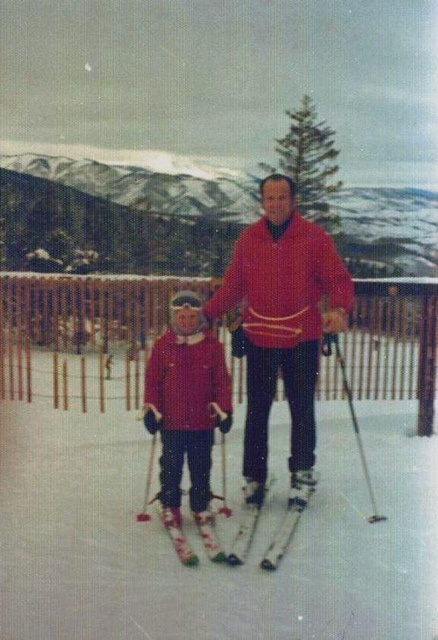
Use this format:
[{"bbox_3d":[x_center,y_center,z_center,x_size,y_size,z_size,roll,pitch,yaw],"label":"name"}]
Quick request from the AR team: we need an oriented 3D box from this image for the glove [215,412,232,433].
[{"bbox_3d":[0.020,0.372,4.848,0.069,0.074,0.017,-1,1,-1],"label":"glove"}]

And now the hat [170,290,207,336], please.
[{"bbox_3d":[-0.116,-0.051,4.827,0.105,0.147,0.148,13,-14,-7],"label":"hat"}]

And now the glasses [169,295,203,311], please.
[{"bbox_3d":[-0.119,-0.060,4.805,0.113,0.047,0.022,1,1,-14],"label":"glasses"}]
